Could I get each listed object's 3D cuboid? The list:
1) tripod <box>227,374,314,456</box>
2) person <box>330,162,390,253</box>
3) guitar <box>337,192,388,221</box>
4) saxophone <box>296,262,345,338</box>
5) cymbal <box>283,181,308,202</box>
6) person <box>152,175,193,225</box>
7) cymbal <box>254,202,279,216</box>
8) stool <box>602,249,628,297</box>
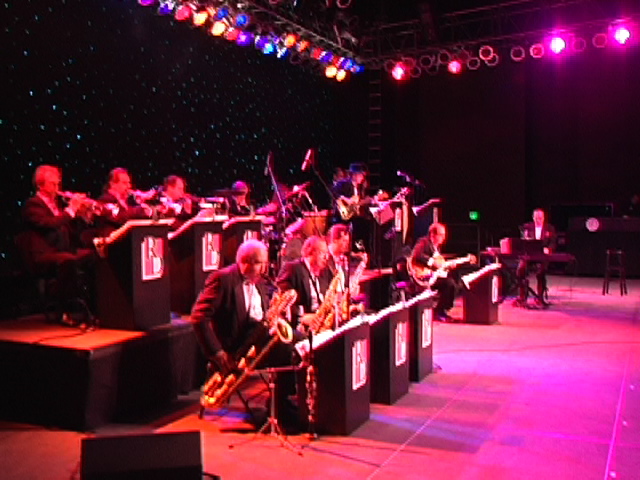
[{"bbox_3d":[-0.433,1.474,4.545,0.629,0.655,0.528,2,-14,-1],"label":"tripod"},{"bbox_3d":[0.639,-0.629,9.627,0.718,1.861,0.269,-10,-7,-7],"label":"person"},{"bbox_3d":[0.779,-0.596,9.359,0.937,0.479,0.643,0,6,6],"label":"guitar"},{"bbox_3d":[-0.015,0.601,5.022,0.296,0.226,0.635,-5,39,21],"label":"saxophone"},{"bbox_3d":[-0.408,-0.859,9.050,0.365,0.149,0.557,-6,15,18],"label":"cymbal"},{"bbox_3d":[-1.779,-0.516,6.382,0.408,0.540,0.963,-2,6,-14],"label":"person"},{"bbox_3d":[-0.949,-0.534,8.937,0.390,0.217,0.681,1,6,13],"label":"cymbal"},{"bbox_3d":[6.303,0.696,10.972,0.561,0.910,0.609,1,1,0],"label":"stool"}]
